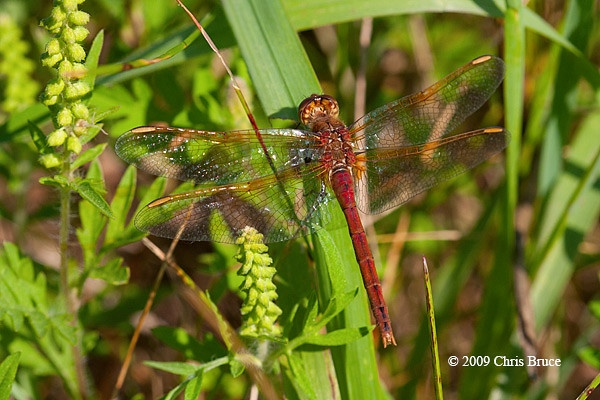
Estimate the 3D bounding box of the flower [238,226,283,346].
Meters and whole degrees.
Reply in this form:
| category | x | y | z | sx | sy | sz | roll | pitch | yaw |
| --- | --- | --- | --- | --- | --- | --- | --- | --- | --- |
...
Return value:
| category | x | y | z | sx | sy | sz | roll | pitch | yaw |
| --- | --- | --- | --- | --- | --- | --- | --- | --- | --- |
| flower | -0.196 | 0.410 | 2.958 | 0.206 | 0.541 | 0.221 | -1 | -5 | -3 |
